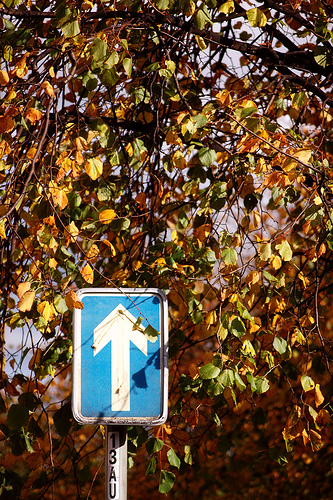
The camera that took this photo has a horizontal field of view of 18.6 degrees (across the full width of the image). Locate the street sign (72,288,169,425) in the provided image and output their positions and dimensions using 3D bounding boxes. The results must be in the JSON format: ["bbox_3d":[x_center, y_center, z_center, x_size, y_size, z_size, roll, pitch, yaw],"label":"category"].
[{"bbox_3d":[-0.159,0.366,3.397,0.411,0.622,0.029,-1,-5,2],"label":"street sign"}]
